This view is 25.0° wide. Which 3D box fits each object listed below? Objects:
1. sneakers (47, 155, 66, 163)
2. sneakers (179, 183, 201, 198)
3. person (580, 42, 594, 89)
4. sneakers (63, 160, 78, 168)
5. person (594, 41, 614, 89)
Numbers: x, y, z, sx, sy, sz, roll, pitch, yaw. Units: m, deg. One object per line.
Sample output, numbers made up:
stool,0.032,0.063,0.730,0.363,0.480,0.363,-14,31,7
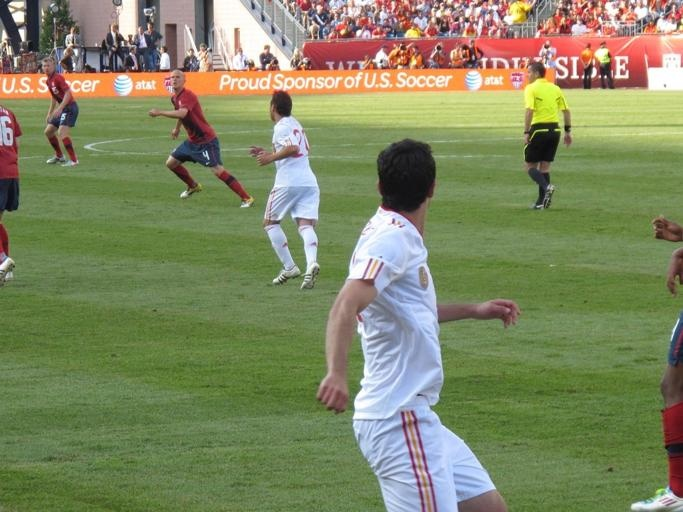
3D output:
sneakers,-5.392,-1.830,29.175,0.413,0.161,0.133,1,33,-10
sneakers,-2.478,-1.070,25.246,0.234,0.154,0.437,13,-26,-37
person,7.548,-5.886,47.379,0.408,1.410,1.316,-1,9,9
sneakers,-5.057,-1.746,28.814,0.268,0.098,0.142,1,3,13
person,8.003,-5.863,47.019,0.569,1.450,1.554,-1,9,10
